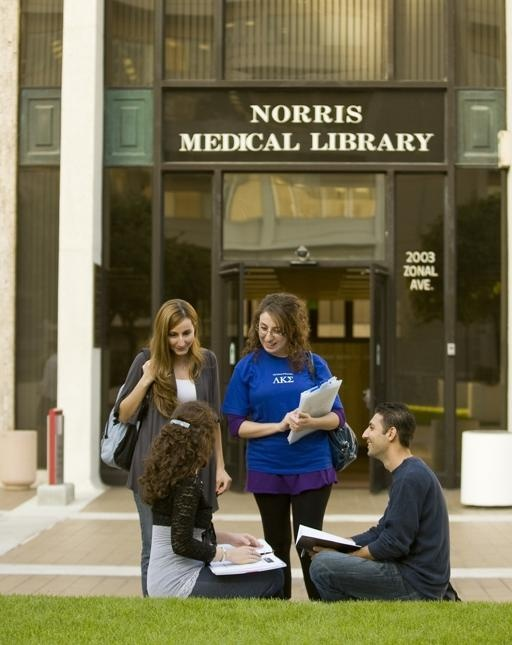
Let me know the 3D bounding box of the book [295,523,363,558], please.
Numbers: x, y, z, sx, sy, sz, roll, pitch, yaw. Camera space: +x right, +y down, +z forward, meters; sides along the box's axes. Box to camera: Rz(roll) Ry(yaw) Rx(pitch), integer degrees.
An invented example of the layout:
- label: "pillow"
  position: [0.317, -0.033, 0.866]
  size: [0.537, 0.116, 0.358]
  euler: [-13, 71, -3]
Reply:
- label: "book"
  position: [0.344, 1.168, 6.071]
  size: [0.225, 0.099, 0.180]
  euler: [19, -21, -30]

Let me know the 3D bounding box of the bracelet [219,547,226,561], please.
- label: "bracelet"
  position: [-0.171, 1.192, 5.870]
  size: [0.035, 0.061, 0.055]
  euler: [7, -19, 11]

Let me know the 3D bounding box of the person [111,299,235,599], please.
- label: "person"
  position: [-0.440, 0.818, 6.346]
  size: [0.539, 1.932, 0.444]
  euler: [-1, 11, -11]

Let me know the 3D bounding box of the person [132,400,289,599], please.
- label: "person"
  position: [-0.231, 1.077, 5.965]
  size: [0.704, 1.362, 0.480]
  euler: [4, 1, -20]

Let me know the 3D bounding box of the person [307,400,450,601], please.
- label: "person"
  position: [0.746, 1.086, 6.240]
  size: [0.817, 1.630, 0.766]
  euler: [-1, -19, 14]

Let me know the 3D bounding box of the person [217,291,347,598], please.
- label: "person"
  position: [0.165, 0.814, 6.460]
  size: [0.602, 2.051, 0.623]
  euler: [-3, 21, 3]
